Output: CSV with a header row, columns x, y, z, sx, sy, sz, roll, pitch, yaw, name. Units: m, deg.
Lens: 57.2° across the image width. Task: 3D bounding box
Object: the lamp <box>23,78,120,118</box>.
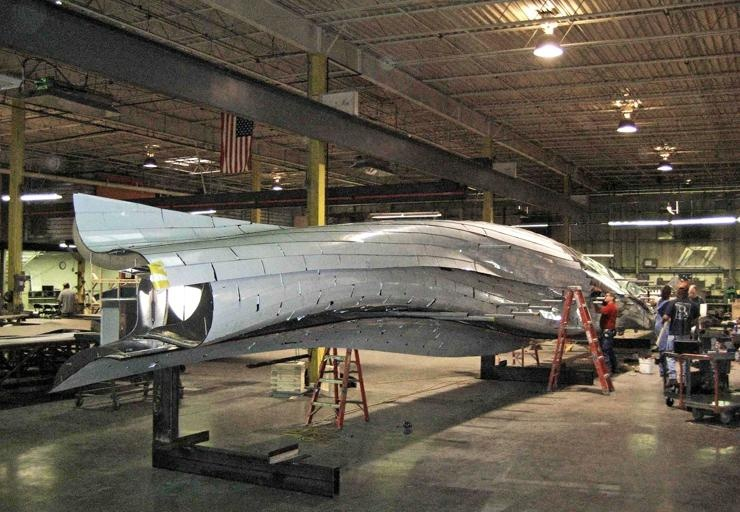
x,y,z,sx,sy,sz,roll,pitch,yaw,name
-7.276,-3.948,17.269,1.473,0.397,2.219,3,1,39,lamp
